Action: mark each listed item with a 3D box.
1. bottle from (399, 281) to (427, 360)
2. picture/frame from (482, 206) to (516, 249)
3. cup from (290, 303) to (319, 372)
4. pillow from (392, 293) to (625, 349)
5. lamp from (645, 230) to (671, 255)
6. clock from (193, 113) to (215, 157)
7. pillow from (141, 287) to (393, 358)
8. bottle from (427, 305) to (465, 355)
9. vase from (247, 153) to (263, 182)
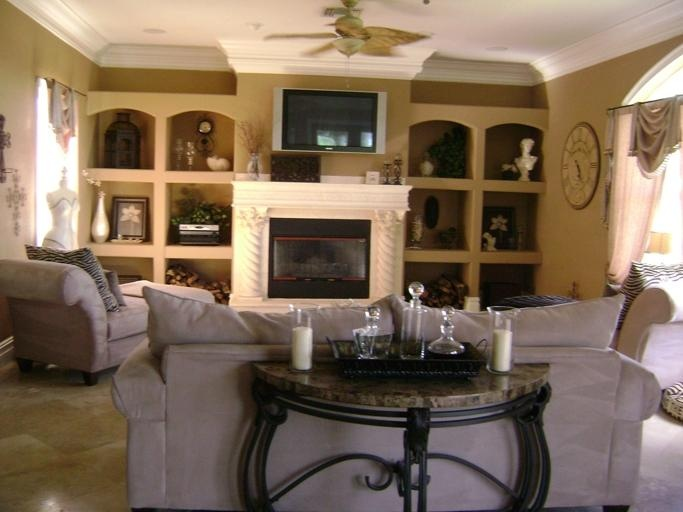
[{"bbox_3d":[0.337,0.303,2.759,0.117,0.285,0.423,-2,12,8],"label":"bottle"},{"bbox_3d":[2.035,-0.338,7.426,0.522,0.654,0.063,2,11,32],"label":"picture/frame"},{"bbox_3d":[-0.186,0.378,2.681,0.116,0.272,0.189,-5,13,-3],"label":"cup"},{"bbox_3d":[1.026,0.358,2.970,0.639,0.174,0.509,1,1,6],"label":"pillow"},{"bbox_3d":[3.095,-0.136,5.619,0.230,0.204,0.219,1,0,8],"label":"lamp"},{"bbox_3d":[-1.703,-1.527,7.161,0.311,0.053,0.642,-16,-14,-18],"label":"clock"},{"bbox_3d":[-0.673,0.405,3.376,1.171,0.334,1.303,7,-4,-28],"label":"pillow"},{"bbox_3d":[0.510,0.358,2.781,0.213,0.216,0.203,2,2,12],"label":"bottle"},{"bbox_3d":[-0.992,-1.007,6.537,0.197,0.303,0.265,-6,13,-8],"label":"vase"}]
